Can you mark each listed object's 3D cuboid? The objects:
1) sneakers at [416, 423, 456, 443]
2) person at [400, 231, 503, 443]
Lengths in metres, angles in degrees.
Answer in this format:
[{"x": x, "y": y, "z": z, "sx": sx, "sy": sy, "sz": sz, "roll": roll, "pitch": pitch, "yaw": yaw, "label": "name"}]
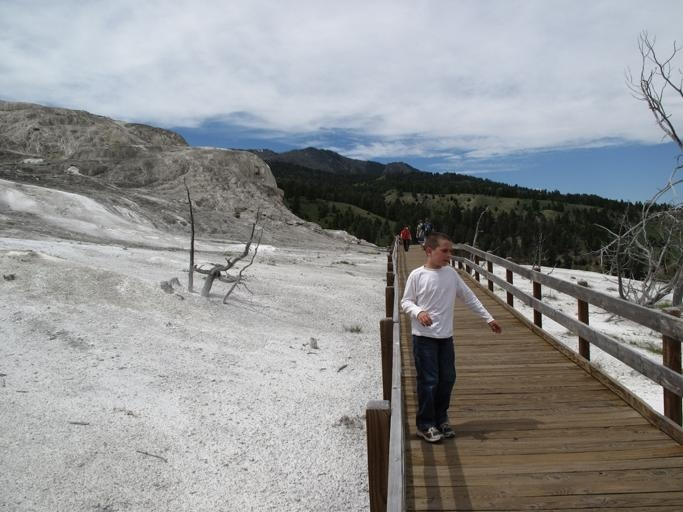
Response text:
[{"x": 1.101, "y": 2.014, "z": 5.198, "sx": 0.338, "sy": 0.150, "sz": 0.189, "roll": -3, "pitch": -1, "yaw": -10, "label": "sneakers"}, {"x": 1.153, "y": 0.887, "z": 5.313, "sx": 0.986, "sy": 2.309, "sz": 0.593, "roll": -14, "pitch": 14, "yaw": -32, "label": "person"}]
